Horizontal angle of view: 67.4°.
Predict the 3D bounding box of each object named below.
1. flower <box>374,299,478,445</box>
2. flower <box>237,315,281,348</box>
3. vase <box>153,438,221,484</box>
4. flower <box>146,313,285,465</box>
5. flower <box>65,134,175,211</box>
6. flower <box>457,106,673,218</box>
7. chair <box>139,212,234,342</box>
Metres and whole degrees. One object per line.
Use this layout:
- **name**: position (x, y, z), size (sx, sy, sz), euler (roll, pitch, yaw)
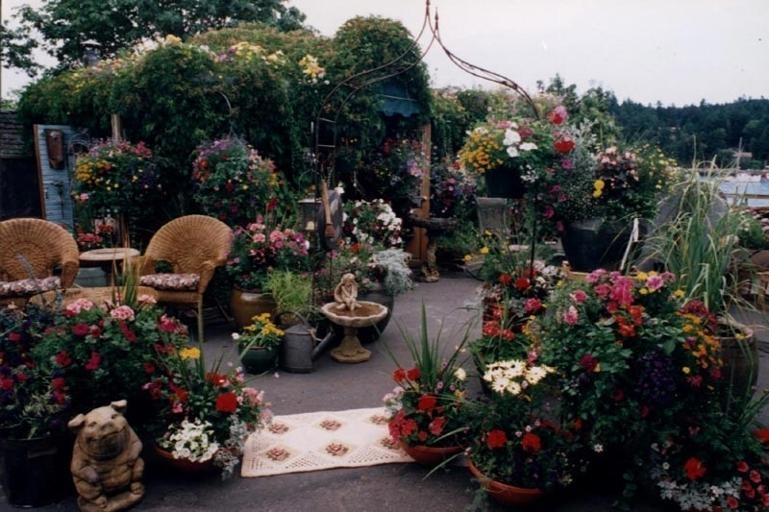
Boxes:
- **flower**: position (0.427, 1.151, 5.012), size (0.764, 1.109, 0.830), euler (6, -6, -27)
- **flower**: position (-1.242, 0.777, 5.784), size (0.383, 0.280, 0.392), euler (3, 4, 2)
- **vase**: position (-1.598, 1.611, 4.637), size (0.323, 0.122, 0.339), euler (5, -1, 10)
- **flower**: position (-1.557, 1.127, 4.956), size (0.927, 1.100, 0.981), euler (22, 7, 7)
- **flower**: position (-3.815, -1.175, 8.340), size (1.120, 0.964, 1.090), euler (5, 12, 37)
- **flower**: position (2.022, -0.956, 6.492), size (2.289, 1.207, 1.379), euler (-4, 10, -32)
- **chair**: position (-2.423, 0.233, 6.910), size (1.040, 1.322, 0.998), euler (2, 8, -2)
